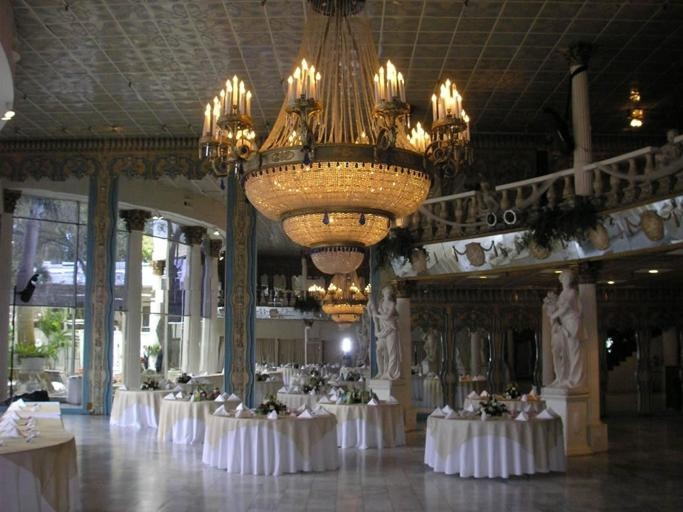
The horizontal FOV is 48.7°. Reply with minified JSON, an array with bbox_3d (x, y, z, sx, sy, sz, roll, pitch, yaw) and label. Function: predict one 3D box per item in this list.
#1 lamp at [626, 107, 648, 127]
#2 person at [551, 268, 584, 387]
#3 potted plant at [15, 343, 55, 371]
[{"bbox_3d":[6.675,-3.192,17.131,0.363,0.408,0.650,5,12,15],"label":"lamp"},{"bbox_3d":[4.167,1.340,13.901,0.586,2.139,0.377,0,1,16],"label":"person"},{"bbox_3d":[-8.298,2.750,20.556,0.722,0.564,0.748,1,-7,-19],"label":"potted plant"}]
